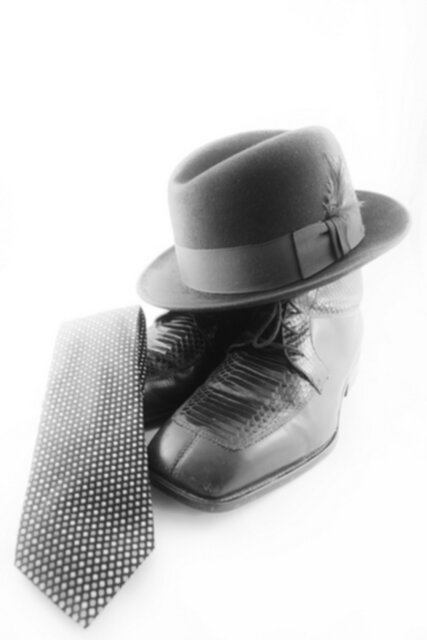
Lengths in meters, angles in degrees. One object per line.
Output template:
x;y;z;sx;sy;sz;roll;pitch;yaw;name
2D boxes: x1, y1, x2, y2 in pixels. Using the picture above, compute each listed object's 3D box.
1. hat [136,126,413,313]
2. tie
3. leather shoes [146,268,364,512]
0.108;-0.103;0.905;0.363;0.137;0.322;-26;30;-9;hat
-0.168;0.161;0.783;0.156;0.025;0.540;-9;38;-3;tie
0.085;0.113;0.930;0.175;0.212;0.471;18;36;22;leather shoes
